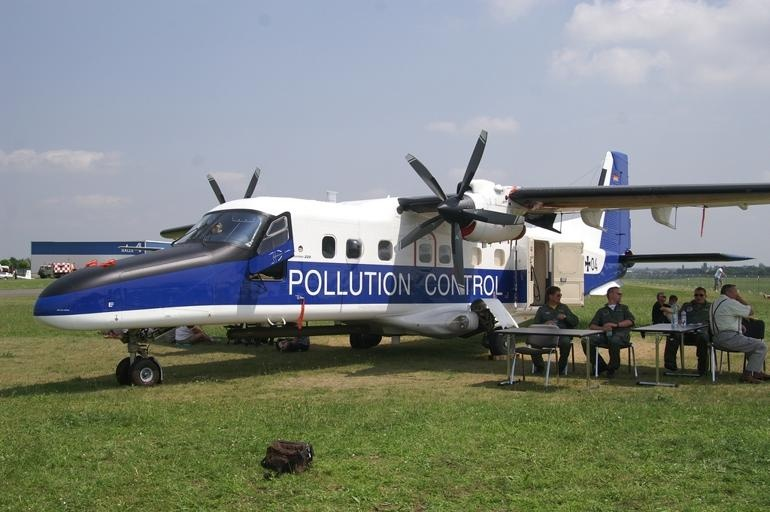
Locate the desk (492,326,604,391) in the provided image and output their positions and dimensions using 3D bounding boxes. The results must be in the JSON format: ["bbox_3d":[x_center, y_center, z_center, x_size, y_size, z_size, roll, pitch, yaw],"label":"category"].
[{"bbox_3d":[3.260,1.938,14.271,2.066,0.954,0.997,-3,-6,32],"label":"desk"}]

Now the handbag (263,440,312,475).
[{"bbox_3d":[-1.400,2.853,10.559,0.736,0.350,0.413,0,5,-3],"label":"handbag"}]

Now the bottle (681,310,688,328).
[{"bbox_3d":[5.773,1.207,14.381,0.111,0.244,0.277,1,5,11],"label":"bottle"}]

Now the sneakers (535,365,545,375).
[{"bbox_3d":[3.245,2.404,15.568,0.165,0.185,0.164,-9,35,50],"label":"sneakers"}]

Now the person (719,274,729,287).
[{"bbox_3d":[13.656,0.945,29.919,0.260,0.728,0.949,6,-1,23],"label":"person"}]

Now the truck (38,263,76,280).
[{"bbox_3d":[-25.994,1.146,58.326,2.167,1.101,4.623,0,-4,-43],"label":"truck"}]

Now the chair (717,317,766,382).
[{"bbox_3d":[6.965,1.912,14.415,0.996,0.960,0.400,2,6,17],"label":"chair"}]
